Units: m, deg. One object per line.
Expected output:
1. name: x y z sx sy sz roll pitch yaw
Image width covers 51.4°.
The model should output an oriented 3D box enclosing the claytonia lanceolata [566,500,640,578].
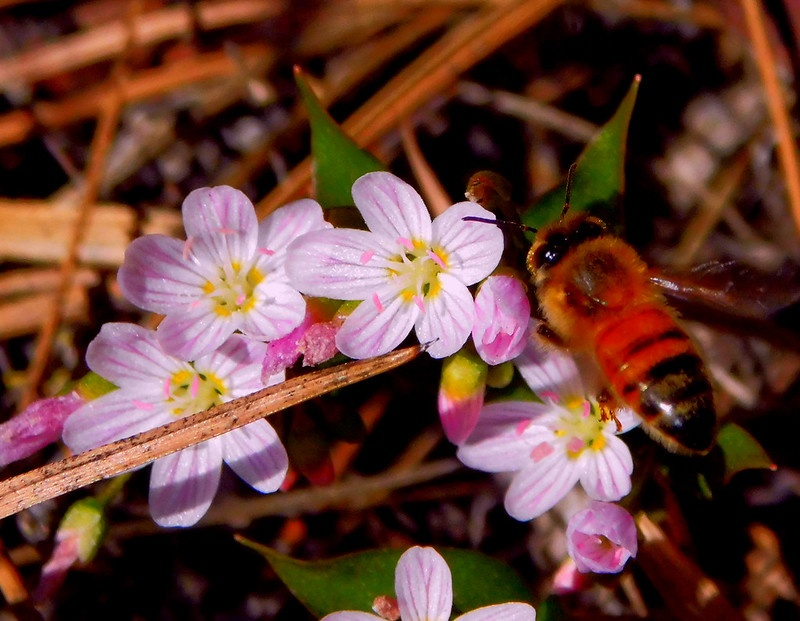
1. claytonia lanceolata: 0.559 0.621 2.324 0.169 0.201 0.135 54 32 -4

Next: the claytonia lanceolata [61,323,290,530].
1. claytonia lanceolata: -0.647 0.323 2.362 0.638 0.333 0.490 0 66 2
